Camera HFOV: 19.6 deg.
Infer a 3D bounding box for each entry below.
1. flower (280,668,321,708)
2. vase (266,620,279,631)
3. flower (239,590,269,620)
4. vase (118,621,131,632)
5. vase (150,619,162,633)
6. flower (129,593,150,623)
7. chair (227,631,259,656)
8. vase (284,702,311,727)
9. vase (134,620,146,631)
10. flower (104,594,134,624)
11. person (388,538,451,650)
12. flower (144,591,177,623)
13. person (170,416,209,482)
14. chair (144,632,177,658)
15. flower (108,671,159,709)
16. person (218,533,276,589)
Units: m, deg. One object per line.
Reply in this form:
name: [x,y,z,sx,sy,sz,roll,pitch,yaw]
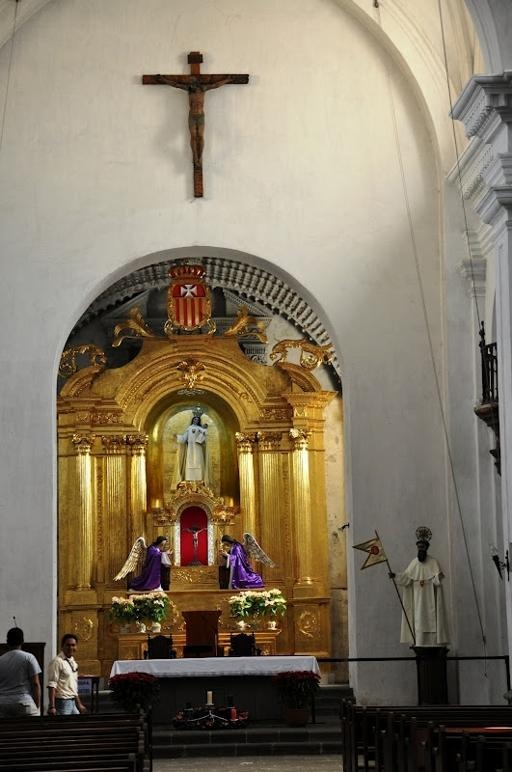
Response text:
flower: [0.452,3.137,15.434,0.337,0.402,0.402,0,-9,9]
vase: [0.223,2.976,18.423,0.099,0.121,0.103,6,-15,-23]
flower: [-0.017,2.699,18.250,0.295,0.313,0.211,1,2,-3]
vase: [-1.605,2.961,18.268,0.153,0.164,0.119,2,-18,-1]
vase: [-1.213,3.012,18.402,0.078,0.132,0.193,-10,-17,25]
flower: [-1.418,2.710,18.285,0.302,0.194,0.310,-14,-33,-1]
chair: [-0.144,3.039,17.413,0.288,0.290,0.479,-2,3,2]
vase: [0.441,3.425,15.392,0.259,0.236,0.169,2,-16,-19]
vase: [-1.408,2.975,18.305,0.096,0.121,0.118,-2,-6,28]
flower: [-1.653,2.757,18.248,0.331,0.320,0.337,-2,-29,-4]
person: [1.728,2.137,15.598,0.504,1.274,0.354,-6,-15,10]
flower: [-1.139,2.743,18.471,0.438,0.489,0.356,4,-15,-15]
person: [-0.854,0.848,20.422,0.399,1.097,0.527,-2,-15,-3]
chair: [-1.067,3.049,16.923,0.322,0.355,0.595,-2,12,1]
flower: [-1.236,3.134,15.218,0.485,0.396,0.265,-2,-15,-5]
person: [-0.115,2.264,19.113,0.661,0.753,0.544,-6,-2,-17]
